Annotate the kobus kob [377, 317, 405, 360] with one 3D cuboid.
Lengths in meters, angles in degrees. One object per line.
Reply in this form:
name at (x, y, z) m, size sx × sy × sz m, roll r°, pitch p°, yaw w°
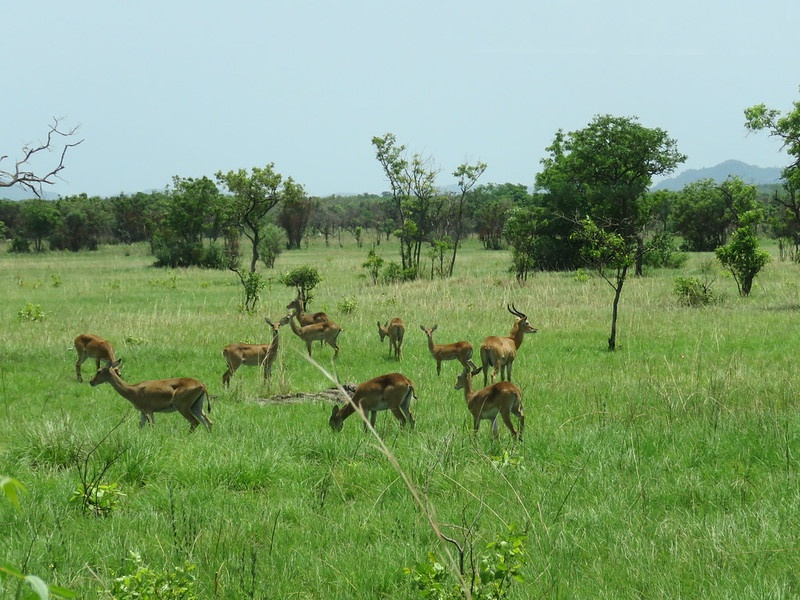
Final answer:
kobus kob at (-0.338, 1.263, 40.815) m, size 0.765 × 1.508 × 2.155 m, roll -4°, pitch 15°, yaw -11°
